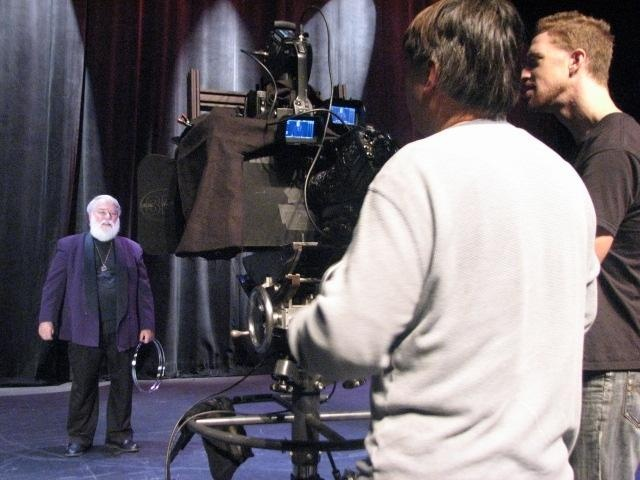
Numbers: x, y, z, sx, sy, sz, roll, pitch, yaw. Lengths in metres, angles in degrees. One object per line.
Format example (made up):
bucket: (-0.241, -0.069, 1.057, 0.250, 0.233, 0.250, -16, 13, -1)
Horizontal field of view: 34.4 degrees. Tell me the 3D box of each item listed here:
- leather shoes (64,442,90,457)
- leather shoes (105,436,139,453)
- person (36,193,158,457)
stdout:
leather shoes: (-1.638, 1.396, 6.946, 0.107, 0.078, 0.244, 3, 2, 10)
leather shoes: (-1.342, 1.389, 7.005, 0.163, 0.086, 0.255, 2, 3, -31)
person: (-1.564, 0.559, 7.202, 0.795, 1.725, 0.735, 3, 2, -12)
